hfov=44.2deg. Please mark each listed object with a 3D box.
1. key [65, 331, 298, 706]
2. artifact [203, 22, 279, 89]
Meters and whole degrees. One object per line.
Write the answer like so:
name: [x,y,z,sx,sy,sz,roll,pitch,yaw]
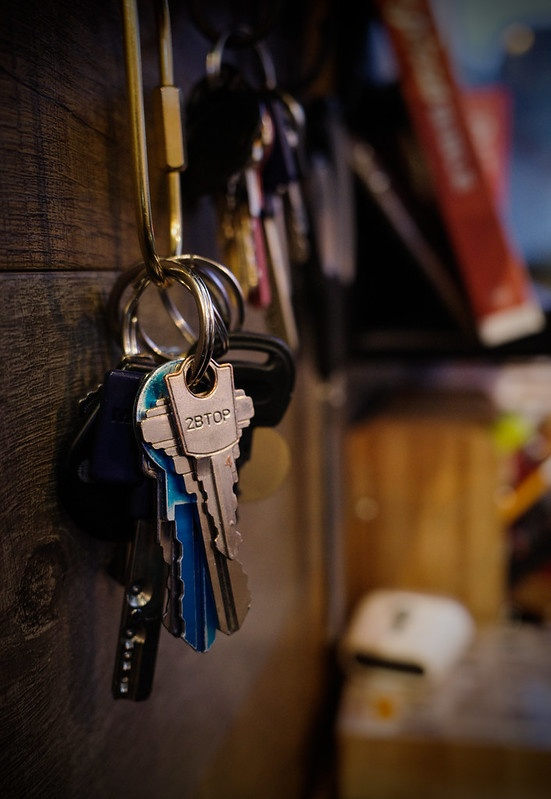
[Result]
key: [-0.077,0.044,0.414,0.157,0.231,0.024,3,-4,-30]
artifact: [-0.026,-0.279,0.565,0.052,0.048,0.107,-3,16,4]
